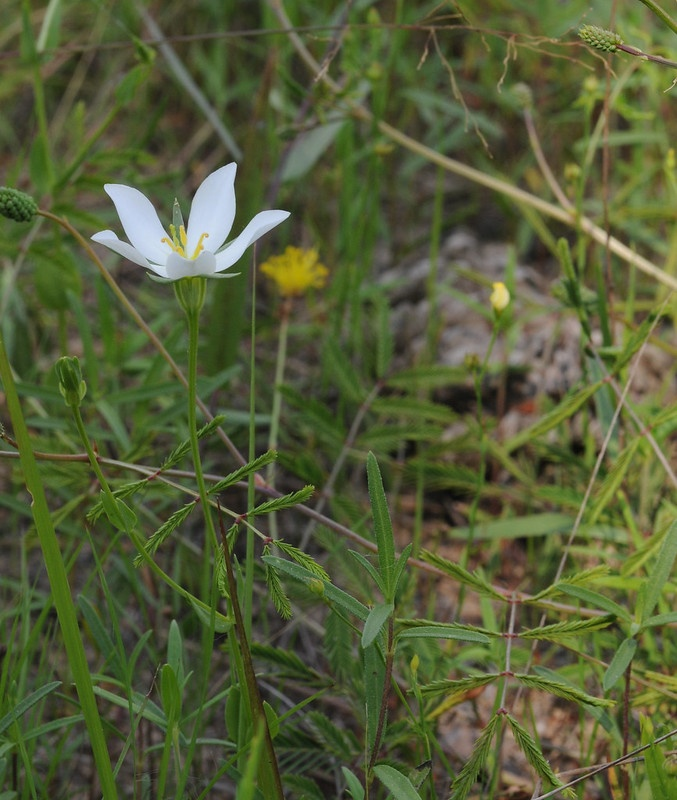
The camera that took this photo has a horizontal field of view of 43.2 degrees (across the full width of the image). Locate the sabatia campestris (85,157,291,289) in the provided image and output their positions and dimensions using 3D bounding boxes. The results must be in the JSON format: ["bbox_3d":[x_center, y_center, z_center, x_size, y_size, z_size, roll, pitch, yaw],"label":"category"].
[{"bbox_3d":[-0.160,-0.158,0.928,0.189,0.198,0.083,3,85,-46],"label":"sabatia campestris"}]
